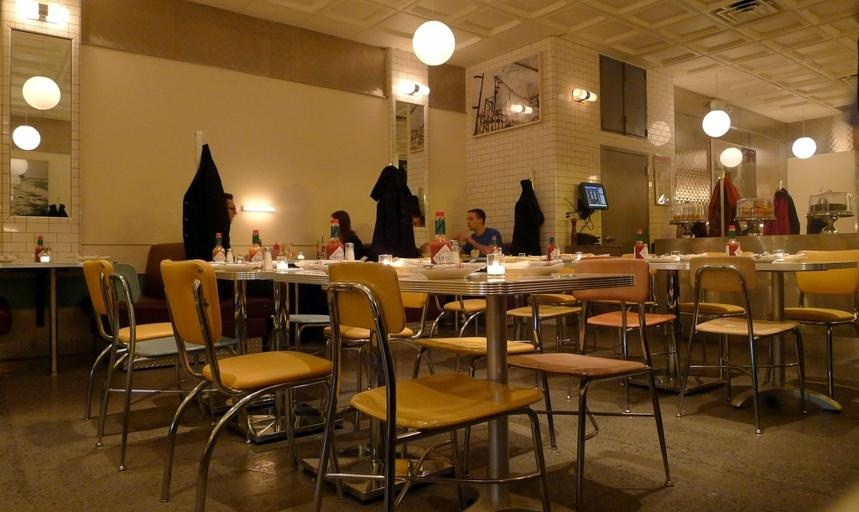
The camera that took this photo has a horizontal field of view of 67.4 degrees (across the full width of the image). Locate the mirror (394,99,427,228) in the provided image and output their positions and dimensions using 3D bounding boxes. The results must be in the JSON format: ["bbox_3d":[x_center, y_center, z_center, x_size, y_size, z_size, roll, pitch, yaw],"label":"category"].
[{"bbox_3d":[-0.299,-1.651,10.926,0.201,2.419,0.764,-3,-8,26],"label":"mirror"}]

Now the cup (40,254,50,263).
[{"bbox_3d":[-4.722,0.031,7.910,0.149,0.134,0.142,1,2,0],"label":"cup"}]

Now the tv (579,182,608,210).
[{"bbox_3d":[2.687,-0.993,10.598,0.528,0.360,0.229,-5,2,-32],"label":"tv"}]

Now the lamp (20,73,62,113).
[{"bbox_3d":[-4.959,-2.096,8.260,0.427,0.486,0.174,-5,2,-27],"label":"lamp"}]

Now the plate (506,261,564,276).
[{"bbox_3d":[0.817,0.099,5.021,0.433,0.087,0.249,-4,1,7],"label":"plate"}]

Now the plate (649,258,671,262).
[{"bbox_3d":[2.553,0.043,7.147,0.148,0.031,0.141,0,2,-10],"label":"plate"}]

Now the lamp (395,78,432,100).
[{"bbox_3d":[-0.255,-2.802,10.777,0.527,0.273,0.154,-2,1,-30],"label":"lamp"}]

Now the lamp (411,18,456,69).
[{"bbox_3d":[0.083,-2.790,8.345,0.678,0.707,0.646,-1,2,6],"label":"lamp"}]

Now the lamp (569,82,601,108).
[{"bbox_3d":[2.658,-2.656,10.647,0.735,0.281,0.212,0,3,-43],"label":"lamp"}]

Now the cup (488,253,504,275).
[{"bbox_3d":[0.519,0.063,5.057,0.167,0.170,0.158,0,3,0],"label":"cup"}]
